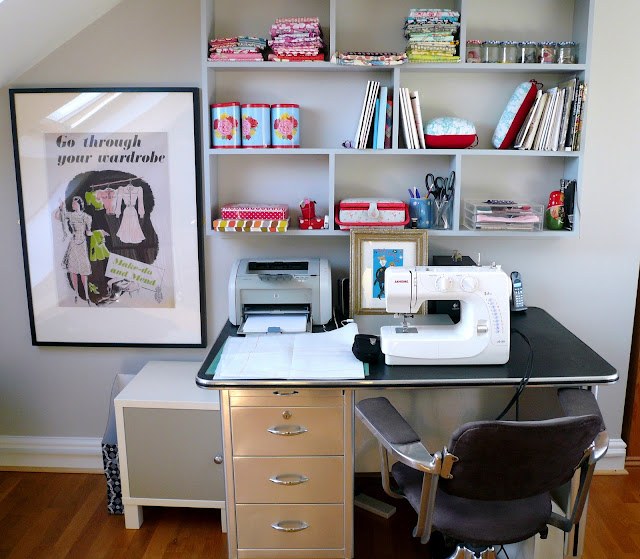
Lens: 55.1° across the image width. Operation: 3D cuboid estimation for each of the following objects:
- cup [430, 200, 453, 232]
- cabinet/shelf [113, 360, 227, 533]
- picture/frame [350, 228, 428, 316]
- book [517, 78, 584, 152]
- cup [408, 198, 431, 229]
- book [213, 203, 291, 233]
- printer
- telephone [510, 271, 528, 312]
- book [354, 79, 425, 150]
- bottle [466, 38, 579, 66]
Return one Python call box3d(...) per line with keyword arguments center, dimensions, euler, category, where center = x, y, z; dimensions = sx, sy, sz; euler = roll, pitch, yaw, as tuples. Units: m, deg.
box3d(center=(0.542, -0.290, 2.803), dimensions=(0.112, 0.175, 0.123), euler=(0, 6, 0), category="cup")
box3d(center=(-0.576, 0.732, 2.894), dimensions=(0.551, 0.688, 0.614), euler=(0, 9, 2), category="cabinet/shelf")
box3d(center=(0.288, -0.046, 2.526), dimensions=(0.337, 0.438, 0.029), euler=(0, 5, -4), category="picture/frame")
box3d(center=(0.976, -0.667, 2.547), dimensions=(0.102, 0.328, 0.215), euler=(4, 3, -39), category="book")
box3d(center=(0.440, -0.288, 2.672), dimensions=(0.110, 0.134, 0.112), euler=(-2, 10, 0), category="cup")
box3d(center=(-0.305, -0.264, 2.667), dimensions=(0.324, 0.114, 0.121), euler=(-2, 14, 2), category="book")
box3d(center=(-0.177, 0.035, 2.603), dimensions=(0.392, 0.289, 0.298), euler=(0, 2, 2), category="printer")
box3d(center=(0.895, 0.053, 2.758), dimensions=(0.123, 0.191, 0.050), euler=(-15, 19, -43), category="telephone")
box3d(center=(0.270, -0.653, 2.671), dimensions=(0.336, 0.378, 0.257), euler=(3, 10, 1), category="book")
box3d(center=(0.855, -0.954, 2.567), dimensions=(0.473, 0.103, 0.071), euler=(-4, 14, -4), category="bottle")
